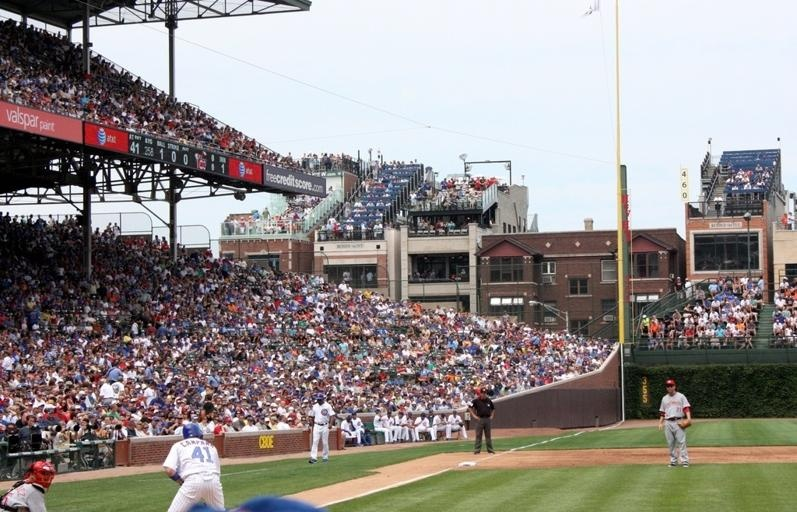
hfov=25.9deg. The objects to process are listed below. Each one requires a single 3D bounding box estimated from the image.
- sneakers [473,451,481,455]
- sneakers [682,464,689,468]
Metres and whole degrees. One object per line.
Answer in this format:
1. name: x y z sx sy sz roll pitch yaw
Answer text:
1. sneakers: 3.416 8.568 75.777 0.330 0.137 0.107 14 -9 -17
2. sneakers: 11.605 8.500 70.635 0.153 0.119 0.186 2 -7 -21
